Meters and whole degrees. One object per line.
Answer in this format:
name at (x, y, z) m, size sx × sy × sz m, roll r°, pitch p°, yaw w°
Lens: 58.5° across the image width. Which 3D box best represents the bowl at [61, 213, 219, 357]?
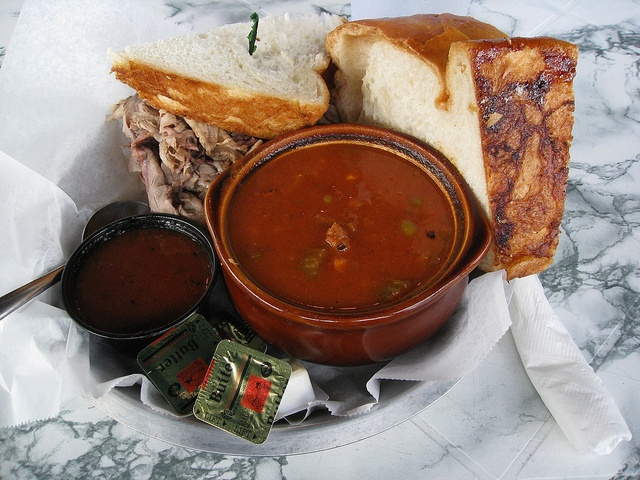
bowl at (-0.693, 0.134, 2.216) m, size 0.584 × 0.098 × 0.547 m, roll 0°, pitch 62°, yaw 0°
